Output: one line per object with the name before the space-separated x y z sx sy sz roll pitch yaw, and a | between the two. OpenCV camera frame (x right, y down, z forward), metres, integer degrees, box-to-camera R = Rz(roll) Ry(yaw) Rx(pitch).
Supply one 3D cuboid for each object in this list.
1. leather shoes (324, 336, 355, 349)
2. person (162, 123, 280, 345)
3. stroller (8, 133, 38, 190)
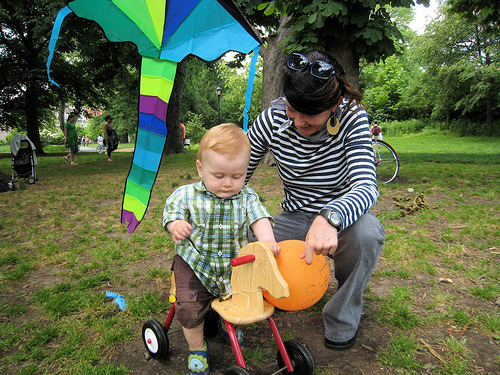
leather shoes | 0.845 1.487 3.268 0.295 0.142 0.114 -3 6 -8
person | -0.242 0.423 2.951 0.919 1.897 0.510 -6 15 -18
stroller | -6.102 -0.781 9.196 0.562 1.382 0.705 -12 17 -36
